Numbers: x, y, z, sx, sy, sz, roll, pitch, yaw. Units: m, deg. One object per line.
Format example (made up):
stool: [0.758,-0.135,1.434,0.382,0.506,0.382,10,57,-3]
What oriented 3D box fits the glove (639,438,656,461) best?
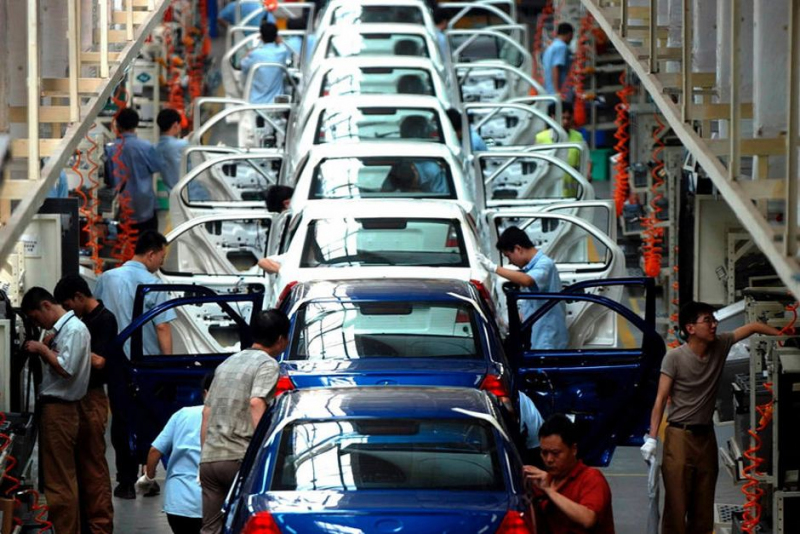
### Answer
glove: [2.223,1.640,13.098,0.157,0.205,0.209,7,-9,-1]

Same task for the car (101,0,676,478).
car: [-0.130,-0.320,15.833,4.054,2.549,5.236,-3,42,1]

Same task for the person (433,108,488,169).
person: [0.826,-1.656,18.162,0.480,0.392,0.849,3,42,-1]

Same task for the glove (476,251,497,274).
glove: [0.860,-0.036,14.715,0.065,0.078,0.265,40,22,-2]
